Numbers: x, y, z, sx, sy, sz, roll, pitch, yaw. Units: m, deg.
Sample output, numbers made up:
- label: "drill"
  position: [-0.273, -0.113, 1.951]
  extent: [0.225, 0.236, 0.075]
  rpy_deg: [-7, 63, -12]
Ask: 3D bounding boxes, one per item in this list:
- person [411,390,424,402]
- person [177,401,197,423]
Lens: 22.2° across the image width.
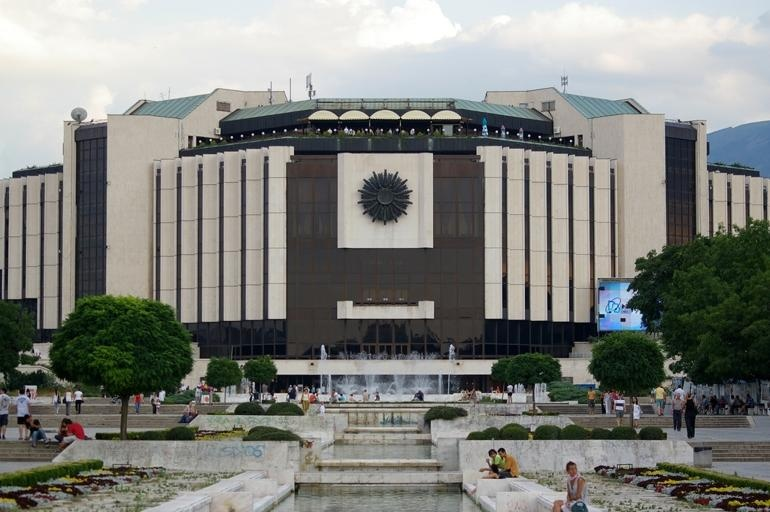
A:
- label: "person"
  position: [3.089, 12.819, 179.933]
  extent: [0.813, 1.214, 1.238]
  rpy_deg: [2, -15, -3]
- label: "person"
  position: [-15.646, 12.264, 154.293]
  extent: [1.004, 1.365, 2.085]
  rpy_deg: [4, 8, 1]
